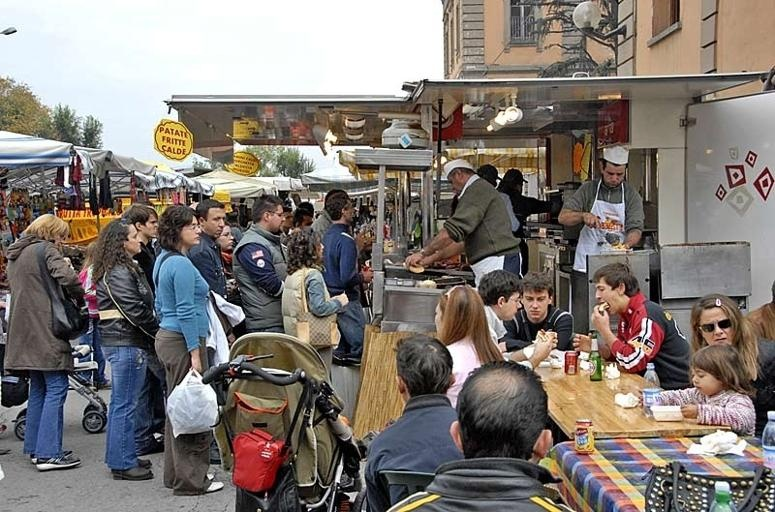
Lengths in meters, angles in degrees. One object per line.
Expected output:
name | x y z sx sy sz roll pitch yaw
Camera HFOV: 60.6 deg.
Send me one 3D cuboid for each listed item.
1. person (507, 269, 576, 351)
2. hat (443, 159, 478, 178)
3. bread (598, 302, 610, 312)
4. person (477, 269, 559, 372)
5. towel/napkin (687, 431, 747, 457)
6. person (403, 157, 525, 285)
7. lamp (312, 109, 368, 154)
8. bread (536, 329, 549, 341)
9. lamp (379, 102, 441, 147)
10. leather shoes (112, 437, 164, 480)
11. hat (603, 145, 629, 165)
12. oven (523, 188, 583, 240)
person | 1.472 0.624 6.650 0.642 0.850 0.933 1 11 19
hat | 0.846 -1.065 7.899 0.332 0.227 0.273 -13 6 7
bread | 2.004 0.486 6.167 0.088 0.096 0.027 20 4 26
person | 1.137 0.600 6.238 0.860 0.824 0.611 5 9 7
towel/napkin | 2.233 1.284 4.494 0.221 0.099 0.233 -6 -3 18
person | 0.833 0.067 7.846 1.283 2.369 0.999 0 -6 -10
lamp | -0.721 -1.847 9.767 0.786 0.299 2.561 0 1 -3
bread | 1.415 0.728 6.075 0.109 0.122 0.069 13 14 -1
lamp | 0.264 -1.609 8.397 0.616 0.513 0.478 0 1 -7
leather shoes | -2.541 2.120 6.866 0.173 0.247 0.540 3 4 22
hat | 2.850 -1.236 8.325 0.254 0.222 0.272 2 6 0
oven | 2.478 -0.586 10.175 0.384 0.741 0.729 -14 19 -30
